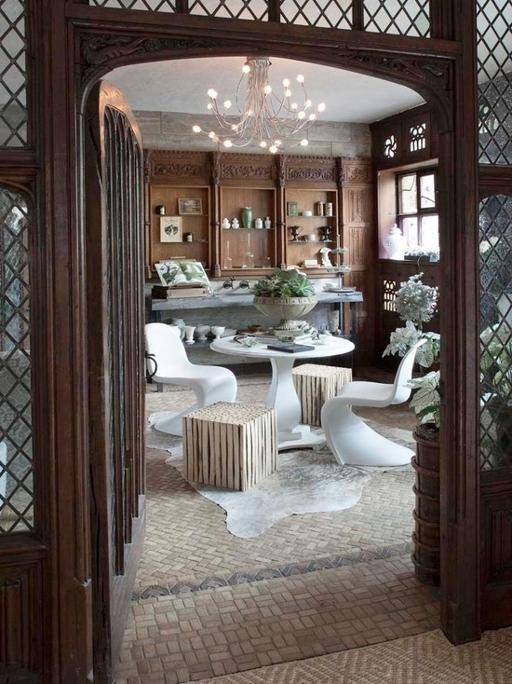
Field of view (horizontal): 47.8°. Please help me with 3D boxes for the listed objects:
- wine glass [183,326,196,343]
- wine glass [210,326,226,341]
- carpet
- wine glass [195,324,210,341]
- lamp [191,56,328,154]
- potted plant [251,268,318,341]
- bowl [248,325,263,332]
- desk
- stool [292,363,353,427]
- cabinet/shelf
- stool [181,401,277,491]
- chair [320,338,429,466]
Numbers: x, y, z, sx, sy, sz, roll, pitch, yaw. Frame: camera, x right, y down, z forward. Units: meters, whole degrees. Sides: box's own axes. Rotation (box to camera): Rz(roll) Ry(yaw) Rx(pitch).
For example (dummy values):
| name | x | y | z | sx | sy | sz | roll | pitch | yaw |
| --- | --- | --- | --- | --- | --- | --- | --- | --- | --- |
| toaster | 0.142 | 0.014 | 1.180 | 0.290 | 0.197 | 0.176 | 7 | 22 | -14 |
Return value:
| name | x | y | z | sx | sy | sz | roll | pitch | yaw |
| --- | --- | --- | --- | --- | --- | --- | --- | --- | --- |
| wine glass | -0.767 | -0.085 | 6.667 | 0.177 | 0.194 | 0.176 | 0 | 4 | 29 |
| wine glass | -0.445 | -0.100 | 6.806 | 0.202 | 0.158 | 0.199 | 0 | -3 | -2 |
| carpet | 0.303 | 0.917 | 3.571 | 1.162 | 0.031 | 1.481 | 4 | 7 | 43 |
| wine glass | -0.640 | -0.108 | 6.889 | 0.183 | 0.160 | 0.171 | -1 | 4 | 7 |
| lamp | 0.029 | -2.417 | 5.636 | 1.099 | 0.707 | 1.026 | 1 | 16 | 1 |
| potted plant | 0.218 | -0.285 | 4.631 | 0.574 | 0.568 | 0.595 | 1 | -4 | -4 |
| bowl | -0.001 | -0.134 | 5.427 | 0.102 | 0.056 | 0.095 | 1 | 10 | 0 |
| desk | 0.258 | 0.420 | 4.591 | 0.979 | 0.659 | 0.940 | -5 | -10 | -9 |
| stool | 0.565 | 0.429 | 5.190 | 0.526 | 0.467 | 0.529 | 5 | 10 | 33 |
| cabinet/shelf | -0.120 | -1.595 | 7.318 | 2.538 | 1.518 | 0.405 | -3 | 6 | -18 |
| stool | -0.189 | 0.655 | 3.827 | 0.546 | 0.468 | 0.526 | 1 | 3 | 14 |
| chair | 0.846 | 0.400 | 4.142 | 0.715 | 0.825 | 0.537 | 0 | 9 | 21 |
